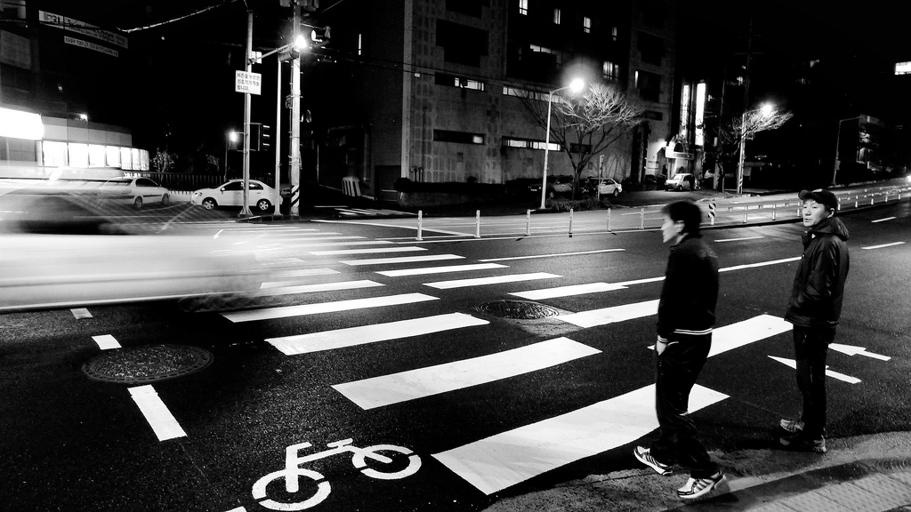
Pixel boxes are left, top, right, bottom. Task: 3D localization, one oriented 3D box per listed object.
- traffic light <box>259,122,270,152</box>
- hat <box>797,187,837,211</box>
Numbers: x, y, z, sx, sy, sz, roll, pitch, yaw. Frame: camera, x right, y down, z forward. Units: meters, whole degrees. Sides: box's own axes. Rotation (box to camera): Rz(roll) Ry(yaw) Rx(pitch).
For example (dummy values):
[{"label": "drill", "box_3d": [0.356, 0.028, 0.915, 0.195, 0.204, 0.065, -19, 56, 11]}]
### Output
[{"label": "traffic light", "box_3d": [-8.909, -5.619, 31.368, 0.306, 1.126, 0.640, 1, 11, 9]}, {"label": "hat", "box_3d": [6.877, -1.113, 12.676, 0.624, 0.311, 0.403, 23, 9, -2]}]
